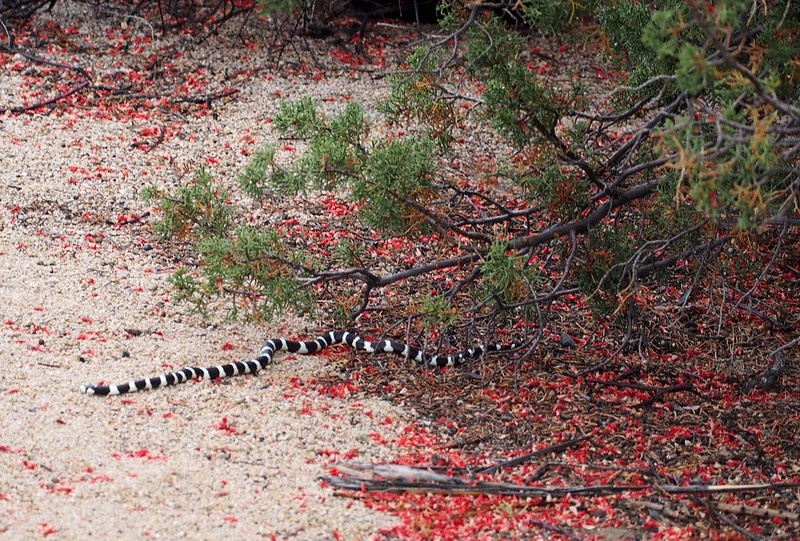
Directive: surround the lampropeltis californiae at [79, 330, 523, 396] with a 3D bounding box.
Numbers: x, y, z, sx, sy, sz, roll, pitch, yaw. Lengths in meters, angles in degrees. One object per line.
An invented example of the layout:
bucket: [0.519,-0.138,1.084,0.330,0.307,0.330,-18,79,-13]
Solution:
lampropeltis californiae: [-1.246,0.894,11.480,4.741,0.644,0.815,-3,50,-14]
